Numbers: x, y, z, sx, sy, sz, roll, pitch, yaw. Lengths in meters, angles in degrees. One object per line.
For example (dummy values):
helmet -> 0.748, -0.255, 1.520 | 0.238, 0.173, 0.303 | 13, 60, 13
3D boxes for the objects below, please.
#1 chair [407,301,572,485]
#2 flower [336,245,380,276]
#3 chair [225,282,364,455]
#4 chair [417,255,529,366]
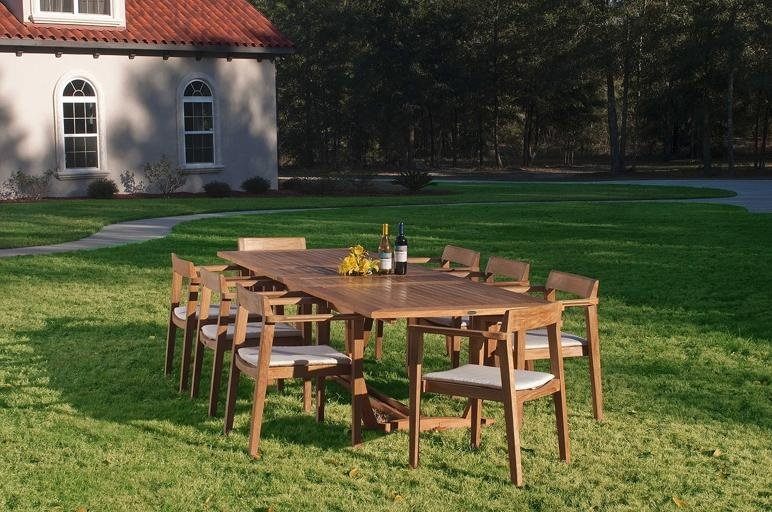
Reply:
chair -> 0.919, 1.115, 6.514 | 1.362, 1.353, 1.406 | 0, 0, -30
flower -> -0.298, 0.057, 7.532 | 0.339, 0.282, 0.332 | 0, 0, -31
chair -> -0.868, 0.884, 7.088 | 1.385, 1.716, 1.432 | -1, 5, -19
chair -> 0.868, 0.519, 7.771 | 0.954, 0.793, 0.829 | 7, 20, 27
